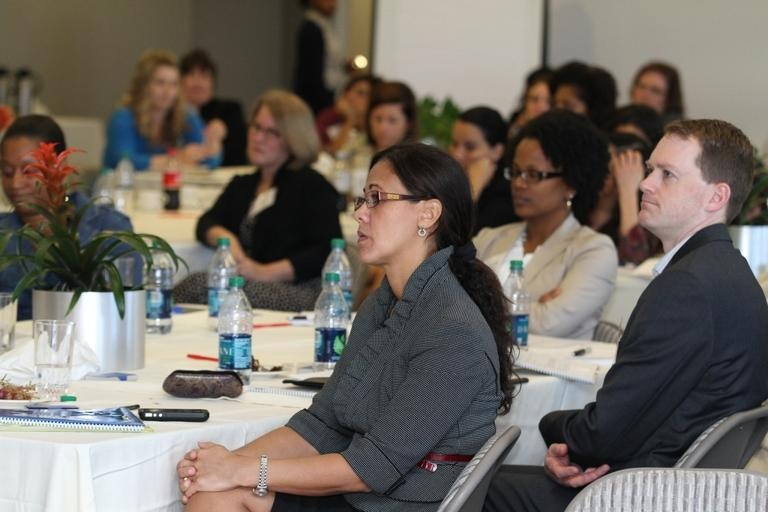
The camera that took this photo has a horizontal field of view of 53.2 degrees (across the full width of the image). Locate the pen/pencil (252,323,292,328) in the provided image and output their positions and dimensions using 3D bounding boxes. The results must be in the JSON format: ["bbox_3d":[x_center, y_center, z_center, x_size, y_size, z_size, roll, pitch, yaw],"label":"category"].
[{"bbox_3d":[-0.441,0.268,3.019,0.105,0.011,0.015,1,28,-21],"label":"pen/pencil"}]

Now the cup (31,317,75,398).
[{"bbox_3d":[-0.874,0.267,2.043,0.097,0.200,0.142,-2,6,-25],"label":"cup"}]

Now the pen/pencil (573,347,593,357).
[{"bbox_3d":[0.679,0.321,2.617,0.019,0.024,0.136,8,6,32],"label":"pen/pencil"}]

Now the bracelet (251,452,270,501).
[{"bbox_3d":[-0.302,0.569,1.936,0.040,0.067,0.064,10,14,-10],"label":"bracelet"}]
